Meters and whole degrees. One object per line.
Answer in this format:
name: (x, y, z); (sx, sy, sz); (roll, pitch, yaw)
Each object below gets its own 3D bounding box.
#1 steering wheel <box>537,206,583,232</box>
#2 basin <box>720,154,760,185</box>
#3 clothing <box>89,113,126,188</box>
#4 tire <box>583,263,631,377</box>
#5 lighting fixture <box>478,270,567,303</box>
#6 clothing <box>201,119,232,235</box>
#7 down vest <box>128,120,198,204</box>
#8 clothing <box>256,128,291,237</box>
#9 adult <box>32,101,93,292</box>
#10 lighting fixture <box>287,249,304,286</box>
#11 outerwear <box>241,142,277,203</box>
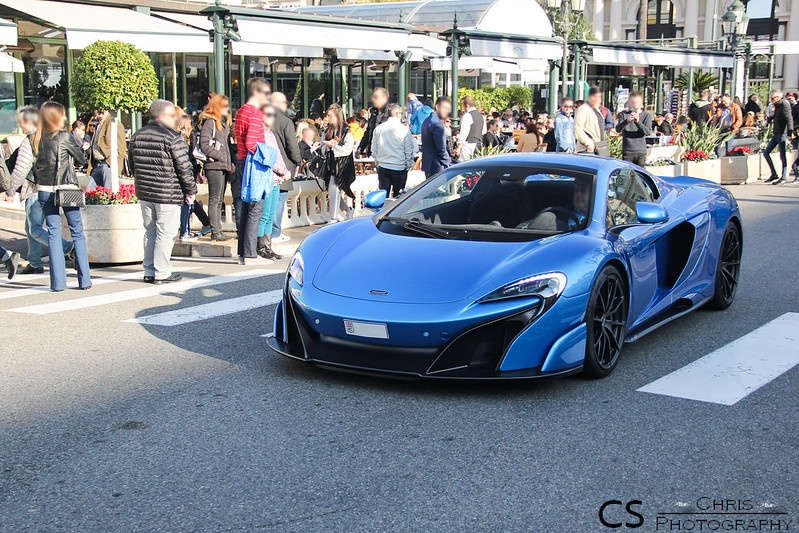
steering wheel: (1.396, -0.417, 6.646); (0.228, 0.127, 0.341); (4, 10, 29)
basin: (9.796, -2.796, 21.532); (1.019, 0.774, 0.971); (-3, 7, 0)
clothing: (-5.338, -2.146, 13.574); (0.645, 1.317, 3.046); (-5, 14, -21)
tire: (1.720, 0.461, 6.223); (0.199, 0.816, 0.745); (4, 10, 21)
lighting fixture: (0.954, 0.179, 5.673); (0.707, 0.177, 0.104); (-4, 13, -18)
clothing: (-2.927, -1.420, 11.922); (0.544, 1.904, 0.418); (-10, 16, -40)
down vest: (-3.025, -1.283, 9.448); (0.823, 0.988, 0.314); (4, 13, 19)
clothing: (-1.939, -1.059, 11.213); (0.461, 1.579, 0.554); (-1, -5, 19)
adult: (-4.235, -0.892, 9.348); (0.603, 2.335, 0.788); (-6, 13, -25)
lighting fixture: (-0.880, 0.020, 6.342); (0.167, 0.275, 0.080); (5, -23, 41)
outerwear: (-1.986, -1.303, 10.423); (0.511, 0.817, 0.301); (2, -7, -3)
